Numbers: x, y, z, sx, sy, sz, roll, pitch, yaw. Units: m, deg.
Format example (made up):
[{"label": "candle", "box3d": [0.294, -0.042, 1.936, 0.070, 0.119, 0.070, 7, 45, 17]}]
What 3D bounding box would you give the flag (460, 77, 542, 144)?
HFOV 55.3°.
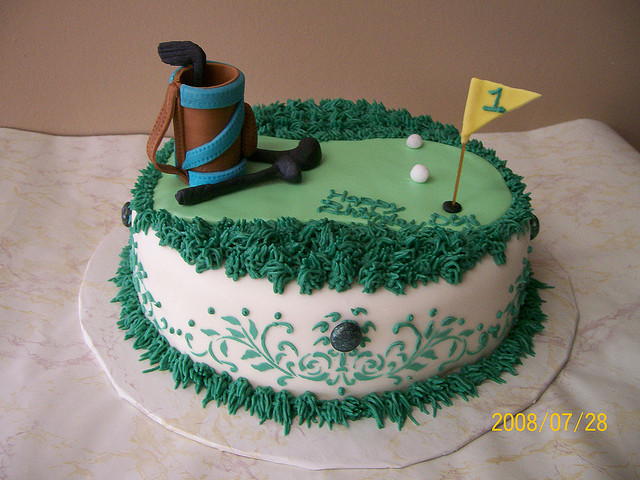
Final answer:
[{"label": "flag", "box3d": [0.932, -0.658, 3.188, 0.351, 0.345, 0.127, 8, 40, 11]}]
